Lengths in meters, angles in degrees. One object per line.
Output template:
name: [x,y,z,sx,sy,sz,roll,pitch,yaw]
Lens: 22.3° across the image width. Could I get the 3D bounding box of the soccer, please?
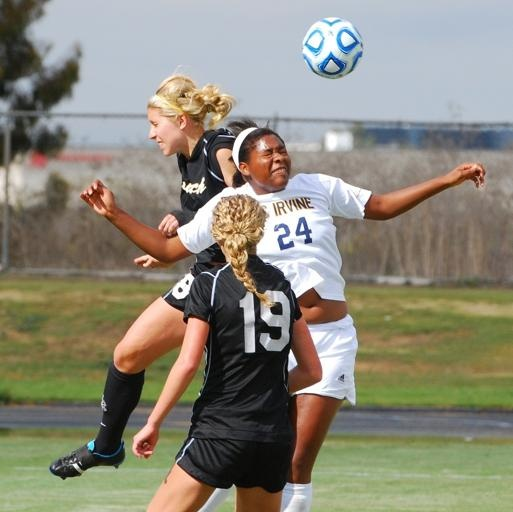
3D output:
soccer: [0.469,-1.139,7.256,0.354,0.318,0.321,-5,18,17]
